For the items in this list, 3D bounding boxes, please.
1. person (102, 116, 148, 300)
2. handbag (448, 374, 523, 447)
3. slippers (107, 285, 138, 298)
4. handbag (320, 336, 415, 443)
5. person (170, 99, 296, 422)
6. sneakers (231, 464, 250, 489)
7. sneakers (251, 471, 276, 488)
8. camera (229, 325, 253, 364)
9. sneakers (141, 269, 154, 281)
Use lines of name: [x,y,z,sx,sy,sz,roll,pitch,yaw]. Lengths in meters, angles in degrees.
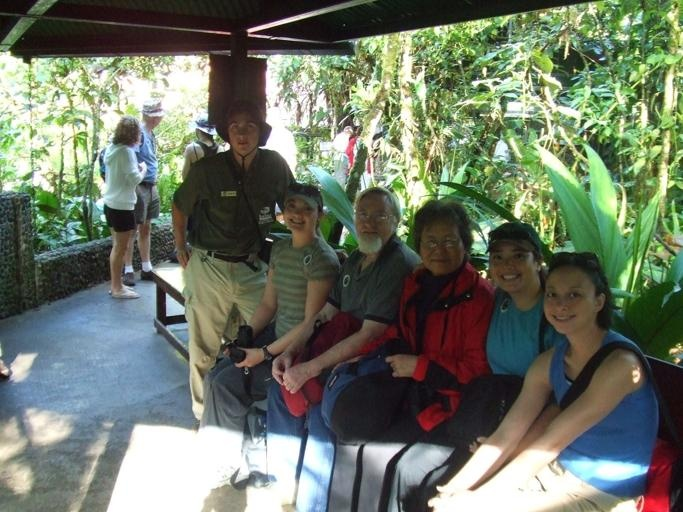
person: [-2.282,-0.489,5.867,0.421,1.896,0.393,-4,16,-17]
handbag: [0.630,0.665,2.566,0.270,0.339,0.102,36,5,-17]
slippers: [-2.354,0.389,6.045,0.247,0.101,0.139,0,11,0]
handbag: [0.126,0.633,2.788,0.203,0.381,0.515,40,59,22]
person: [-0.765,0.073,3.885,0.812,2.311,0.670,1,28,-15]
sneakers: [-0.582,1.279,3.233,0.087,0.124,0.044,7,-14,30]
sneakers: [-0.459,1.297,3.264,0.127,0.063,0.078,15,6,-21]
camera: [-0.581,0.507,3.240,0.101,0.207,0.127,13,6,-3]
sneakers: [-2.252,0.224,6.473,0.131,0.175,0.093,1,1,9]
